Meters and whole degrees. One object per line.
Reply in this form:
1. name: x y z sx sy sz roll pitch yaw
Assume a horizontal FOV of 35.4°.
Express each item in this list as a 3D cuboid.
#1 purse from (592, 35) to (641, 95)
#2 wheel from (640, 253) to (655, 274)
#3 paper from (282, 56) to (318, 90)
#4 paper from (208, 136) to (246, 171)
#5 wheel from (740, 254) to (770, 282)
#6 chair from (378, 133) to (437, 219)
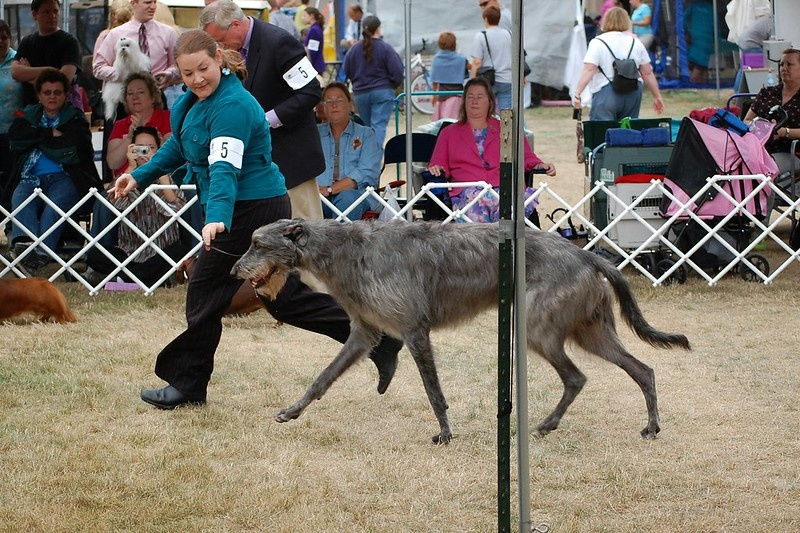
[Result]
1. purse: 2.909 -2.634 16.631 0.557 0.587 0.614 -7 15 -18
2. wheel: 2.762 -0.049 13.829 0.072 0.194 0.200 -14 -8 -13
3. paper: -0.923 -1.778 11.624 0.276 0.199 0.277 -29 21 33
4. paper: -1.404 -0.920 10.119 0.253 0.195 0.254 5 6 20
5. wheel: 3.906 0.012 13.750 0.241 0.242 0.086 18 0 -16
6. chair: 0.117 -1.137 15.097 0.900 1.180 0.822 -1 15 -8
